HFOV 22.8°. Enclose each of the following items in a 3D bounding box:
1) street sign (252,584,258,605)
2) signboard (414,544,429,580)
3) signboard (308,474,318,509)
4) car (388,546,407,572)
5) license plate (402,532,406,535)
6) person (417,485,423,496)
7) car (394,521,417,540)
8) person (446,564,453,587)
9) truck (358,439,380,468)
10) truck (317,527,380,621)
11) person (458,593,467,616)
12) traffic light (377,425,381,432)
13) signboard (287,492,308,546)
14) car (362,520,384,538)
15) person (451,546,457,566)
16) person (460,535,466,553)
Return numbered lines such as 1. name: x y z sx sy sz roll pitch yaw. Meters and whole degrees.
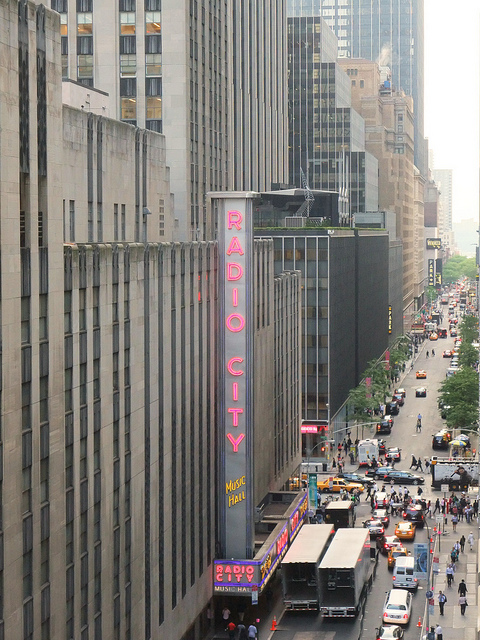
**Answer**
1. street sign: 0.705 13.703 59.933 0.230 1.249 0.861 0 -4 1
2. signboard: 8.699 11.511 57.064 0.561 2.124 1.501 1 8 11
3. signboard: 4.960 11.529 81.638 0.539 2.540 1.077 0 7 -1
4. car: 9.864 14.927 75.794 0.650 0.901 1.919 1 15 9
5. license plate: 11.419 14.730 82.954 0.215 0.100 0.054 1 7 8
6. person: 14.993 14.094 99.497 0.370 0.724 1.349 1 -18 11
7. car: 11.596 14.766 83.683 1.232 0.911 1.649 3 10 23
8. person: 12.792 15.682 72.692 0.346 1.462 1.157 1 8 12
9. truck: 11.910 12.222 111.321 1.083 2.094 2.701 0 5 8
10. truck: 6.144 13.966 66.891 1.443 3.350 6.503 -3 11 19
11. person: 12.687 16.211 67.930 0.495 2.004 0.641 1 39 10
12. traffic light: 15.208 11.644 130.586 0.292 0.887 0.581 -2 8 -12
13. signboard: 3.348 12.771 74.956 0.075 0.841 5.519 -5 -31 -20
14. car: 8.966 14.057 80.495 1.007 1.214 2.834 1 10 2
15. person: 13.767 15.240 76.726 0.348 1.072 1.492 1 9 15
16. person: 15.299 15.147 81.985 0.303 1.059 1.821 1 9 11
